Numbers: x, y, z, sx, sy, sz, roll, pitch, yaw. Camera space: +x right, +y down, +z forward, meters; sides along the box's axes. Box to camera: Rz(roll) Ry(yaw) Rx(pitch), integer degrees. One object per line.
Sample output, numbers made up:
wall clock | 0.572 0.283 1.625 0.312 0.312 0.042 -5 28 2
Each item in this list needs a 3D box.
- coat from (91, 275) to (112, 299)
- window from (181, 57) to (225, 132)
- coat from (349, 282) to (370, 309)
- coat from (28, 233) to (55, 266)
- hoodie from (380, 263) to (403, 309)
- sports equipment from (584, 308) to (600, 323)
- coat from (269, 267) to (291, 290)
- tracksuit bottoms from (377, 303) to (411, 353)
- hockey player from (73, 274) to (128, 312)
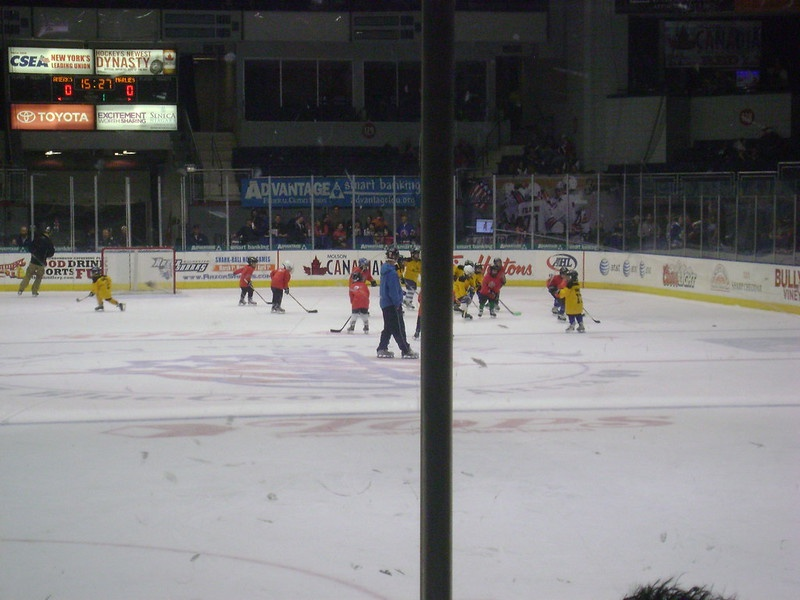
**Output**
coat | -6.744 -0.297 23.973 0.445 0.548 0.315 -15 30 -40
window | -6.657 -7.068 37.168 2.158 0.385 3.857 3 -28 -1
coat | -0.726 -0.062 19.276 0.328 0.540 0.391 0 4 -6
coat | -9.225 -1.311 27.190 0.670 0.805 0.422 15 18 -13
hoodie | -0.137 -0.217 17.030 0.338 0.703 0.504 0 4 -1
sports equipment | 3.911 0.343 21.415 0.297 0.089 0.290 18 10 -20
coat | -2.693 -0.479 23.892 0.469 0.542 0.334 19 31 18
tracksuit bottoms | -0.084 0.500 17.127 0.533 0.832 0.556 0 4 -10
hockey player | -6.668 -0.201 23.833 1.209 0.930 0.408 3 2 19
